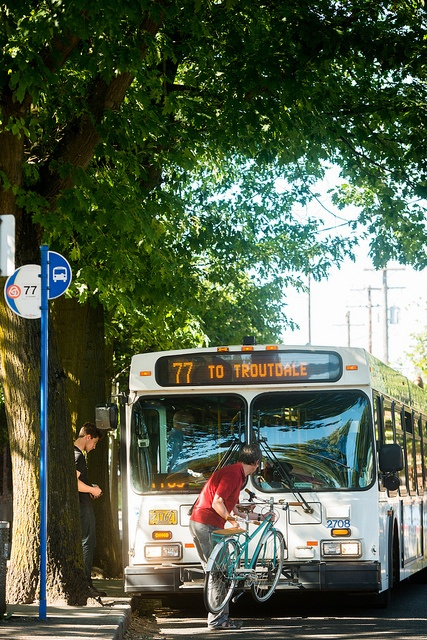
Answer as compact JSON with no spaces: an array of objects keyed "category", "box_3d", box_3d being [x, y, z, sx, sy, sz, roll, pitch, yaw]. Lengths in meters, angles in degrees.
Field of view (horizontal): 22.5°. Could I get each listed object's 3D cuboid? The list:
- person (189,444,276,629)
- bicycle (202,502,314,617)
[{"category":"person","box_3d":[0.124,1.922,9.498,0.594,1.626,0.613,2,-6,-32]},{"category":"bicycle","box_3d":[0.368,2.182,9.665,0.489,0.732,1.162,-6,-12,25]}]
